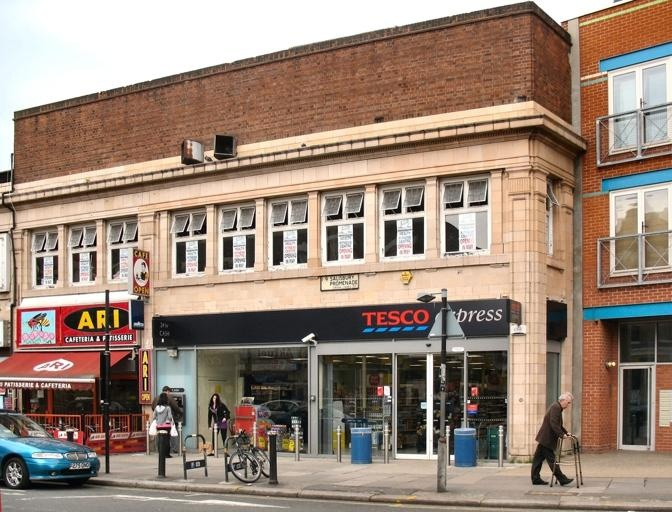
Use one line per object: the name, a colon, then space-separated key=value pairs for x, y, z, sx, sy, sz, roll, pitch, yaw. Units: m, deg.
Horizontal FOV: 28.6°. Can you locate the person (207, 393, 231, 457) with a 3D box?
person: x=-3.741 y=5.423 z=41.780 sx=0.658 sy=1.966 sz=0.656 roll=-5 pitch=4 yaw=6

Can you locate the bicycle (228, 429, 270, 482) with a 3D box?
bicycle: x=-2.407 y=5.483 z=35.471 sx=1.099 sy=1.427 sz=0.650 roll=0 pitch=-12 yaw=-6

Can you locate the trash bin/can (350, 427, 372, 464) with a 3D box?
trash bin/can: x=0.684 y=5.619 z=38.526 sx=0.582 sy=1.093 sz=0.669 roll=-1 pitch=-12 yaw=0

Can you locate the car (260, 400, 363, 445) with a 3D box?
car: x=-0.746 y=5.121 z=40.898 sx=2.908 sy=1.067 sz=1.375 roll=0 pitch=-8 yaw=26

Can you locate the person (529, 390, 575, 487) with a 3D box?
person: x=5.527 y=4.819 z=34.282 sx=0.666 sy=2.409 sz=1.145 roll=10 pitch=-16 yaw=-42

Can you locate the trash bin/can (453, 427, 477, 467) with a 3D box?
trash bin/can: x=3.586 y=5.424 z=37.091 sx=0.917 sy=1.335 sz=0.891 roll=0 pitch=-3 yaw=1

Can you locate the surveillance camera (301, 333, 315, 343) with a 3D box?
surveillance camera: x=-0.914 y=2.550 z=40.612 sx=0.524 sy=0.300 sz=0.268 roll=-6 pitch=-13 yaw=19
